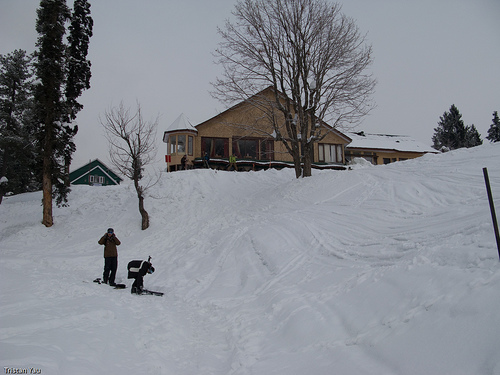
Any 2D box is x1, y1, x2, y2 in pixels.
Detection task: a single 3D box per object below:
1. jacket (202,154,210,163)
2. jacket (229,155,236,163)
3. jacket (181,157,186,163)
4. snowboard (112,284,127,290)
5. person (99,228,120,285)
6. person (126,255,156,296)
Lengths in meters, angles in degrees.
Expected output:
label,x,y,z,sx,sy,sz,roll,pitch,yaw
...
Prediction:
label,x,y,z,sx,sy,sz,roll,pitch,yaw
jacket,-3.417,-2.337,35.086,0.580,0.609,1.860,5,8,-6
jacket,-1.260,-2.162,34.085,0.486,0.443,0.767,2,-9,-4
jacket,-5.115,-2.109,34.232,0.529,0.456,0.294,-3,8,34
snowboard,-4.856,3.657,16.494,0.499,0.121,0.434,1,10,-32
person,-5.440,2.773,17.184,0.696,2.185,1.298,2,8,-20
person,-4.062,3.168,16.477,0.885,1.491,1.080,9,-6,5
